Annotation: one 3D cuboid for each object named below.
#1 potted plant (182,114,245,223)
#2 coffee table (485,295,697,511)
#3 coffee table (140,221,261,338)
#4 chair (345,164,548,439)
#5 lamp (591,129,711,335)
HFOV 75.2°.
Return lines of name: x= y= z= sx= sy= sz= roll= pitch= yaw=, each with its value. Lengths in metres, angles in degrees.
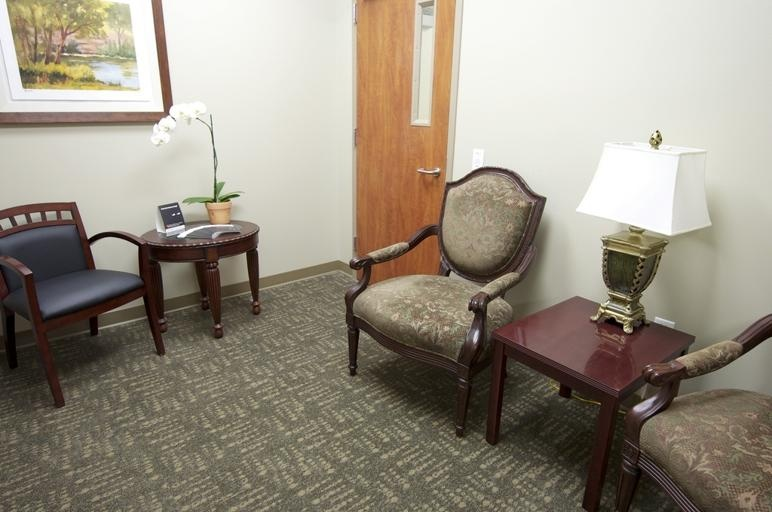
potted plant: x=-1.258 y=-0.605 z=3.610 sx=0.404 sy=0.777 sz=0.403 roll=-6 pitch=23 yaw=-15
coffee table: x=1.029 y=0.654 z=2.809 sx=0.928 sy=0.892 sz=0.928 roll=-19 pitch=32 yaw=-38
coffee table: x=-1.268 y=0.118 z=3.550 sx=0.861 sy=0.736 sz=0.781 roll=8 pitch=19 yaw=25
chair: x=0.397 y=0.297 z=2.982 sx=1.099 sy=1.437 sz=0.932 roll=22 pitch=31 yaw=37
lamp: x=1.253 y=-0.120 z=2.497 sx=0.563 sy=0.961 sz=0.369 roll=14 pitch=26 yaw=31
